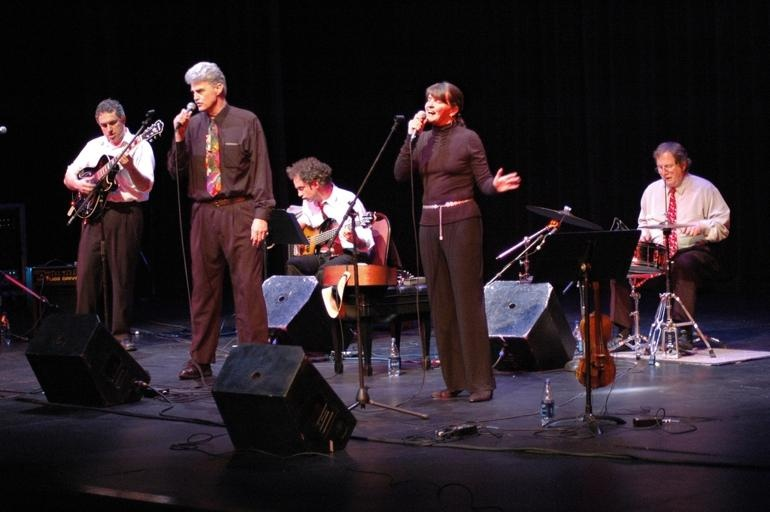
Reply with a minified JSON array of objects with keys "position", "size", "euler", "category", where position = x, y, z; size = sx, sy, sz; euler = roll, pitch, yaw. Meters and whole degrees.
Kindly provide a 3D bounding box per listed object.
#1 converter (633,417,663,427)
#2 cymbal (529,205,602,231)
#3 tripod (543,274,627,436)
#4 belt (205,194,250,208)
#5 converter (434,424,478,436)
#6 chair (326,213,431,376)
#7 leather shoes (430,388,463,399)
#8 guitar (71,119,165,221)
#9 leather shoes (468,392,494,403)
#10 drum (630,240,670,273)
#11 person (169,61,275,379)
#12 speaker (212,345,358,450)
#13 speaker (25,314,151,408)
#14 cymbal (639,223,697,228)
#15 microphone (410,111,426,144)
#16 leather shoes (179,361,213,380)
[{"position":[1.704,1.090,5.271],"size":[0.132,0.039,0.075],"euler":[-1,-2,-12],"category":"converter"},{"position":[2.290,-0.485,10.026],"size":[0.587,0.126,0.602],"euler":[20,1,31],"category":"cymbal"},{"position":[1.396,0.609,5.542],"size":[0.480,1.142,0.969],"euler":[-3,-1,22],"category":"tripod"},{"position":[-1.260,-0.437,6.428],"size":[0.398,0.098,0.069],"euler":[-2,-1,6],"category":"belt"},{"position":[0.461,1.129,5.151],"size":[0.109,0.037,0.152],"euler":[-4,-3,39],"category":"converter"},{"position":[0.059,0.359,7.458],"size":[1.034,1.271,0.964],"euler":[8,-6,-18],"category":"chair"},{"position":[0.469,1.051,6.124],"size":[0.251,0.099,0.082],"euler":[2,-4,4],"category":"leather shoes"},{"position":[-2.594,-0.839,7.758],"size":[0.468,0.948,1.382],"euler":[-2,-1,-43],"category":"guitar"},{"position":[0.721,1.055,5.966],"size":[0.201,0.078,0.064],"euler":[9,-10,-30],"category":"leather shoes"},{"position":[2.336,0.010,7.094],"size":[0.443,0.248,0.403],"euler":[1,-4,0],"category":"drum"},{"position":[-1.296,-0.308,6.453],"size":[0.980,2.398,0.470],"euler":[-3,0,23],"category":"person"},{"position":[-0.610,0.867,5.017],"size":[0.701,0.601,0.738],"euler":[-6,-6,43],"category":"speaker"},{"position":[-2.262,0.746,6.068],"size":[0.862,0.725,0.691],"euler":[-2,4,39],"category":"speaker"},{"position":[2.519,-0.264,7.164],"size":[0.702,0.052,0.188],"euler":[-2,-1,-33],"category":"cymbal"},{"position":[0.223,-0.945,5.909],"size":[0.119,0.219,0.055],"euler":[24,-9,-22],"category":"microphone"},{"position":[-1.558,0.964,6.699],"size":[0.126,0.141,0.337],"euler":[-4,-7,43],"category":"leather shoes"}]
